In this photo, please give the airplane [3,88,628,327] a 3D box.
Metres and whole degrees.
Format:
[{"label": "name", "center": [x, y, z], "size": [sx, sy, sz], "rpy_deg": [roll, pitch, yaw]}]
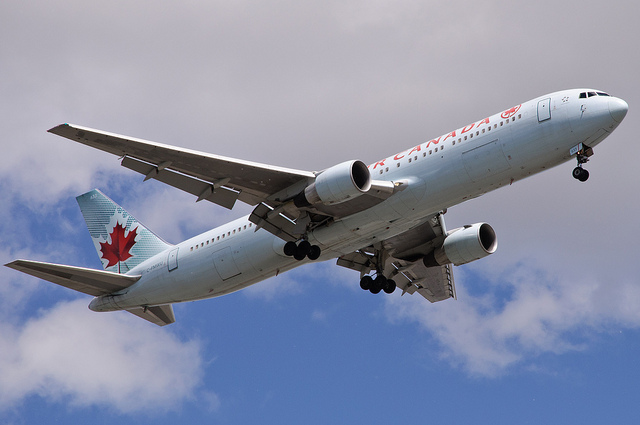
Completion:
[{"label": "airplane", "center": [0.245, 0.232, 35.760], "size": [12.206, 3.668, 10.878], "rpy_deg": [-22, -42, 17]}]
